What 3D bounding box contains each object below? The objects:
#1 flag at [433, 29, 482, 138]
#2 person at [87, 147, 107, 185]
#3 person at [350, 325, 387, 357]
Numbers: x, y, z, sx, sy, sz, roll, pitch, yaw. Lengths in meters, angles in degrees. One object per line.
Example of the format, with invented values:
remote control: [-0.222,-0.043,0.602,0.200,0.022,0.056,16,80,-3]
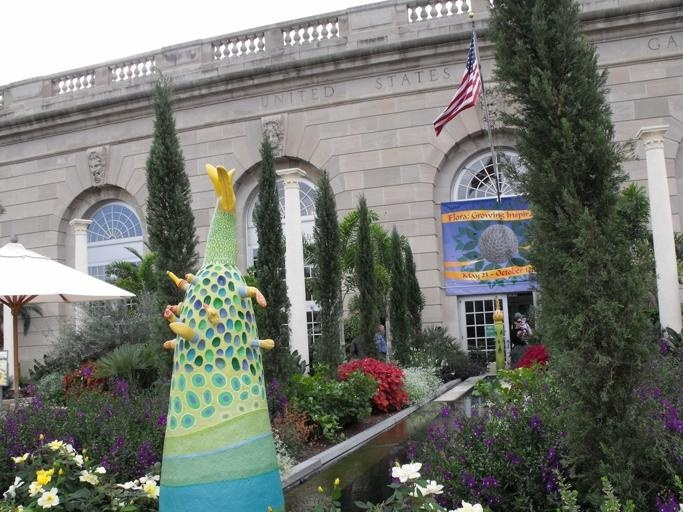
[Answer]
flag: [3.381,-5.097,19.130,0.353,3.759,2.207,22,41,23]
person: [-9.081,-3.304,24.368,0.767,1.386,0.211,-6,-8,18]
person: [0.714,2.036,15.452,0.634,0.493,0.921,1,-3,-3]
